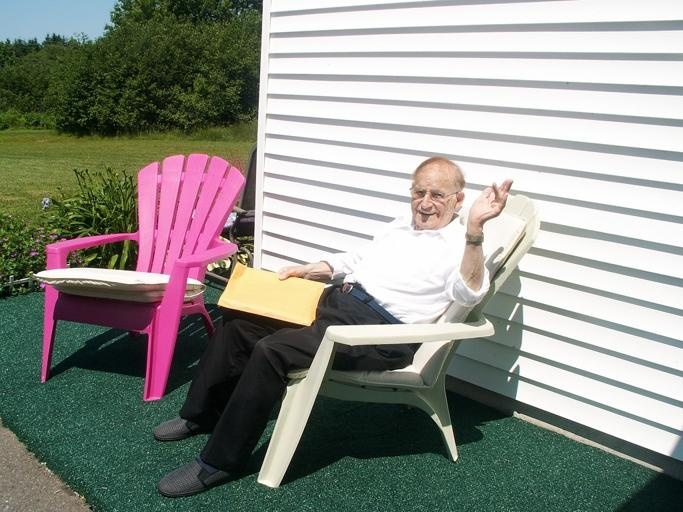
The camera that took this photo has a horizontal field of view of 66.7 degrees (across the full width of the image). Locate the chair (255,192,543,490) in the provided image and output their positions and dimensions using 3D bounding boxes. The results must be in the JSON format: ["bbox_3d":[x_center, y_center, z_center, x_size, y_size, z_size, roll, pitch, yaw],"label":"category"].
[{"bbox_3d":[0.229,0.282,2.764,1.396,1.227,1.004,1,20,-8],"label":"chair"}]

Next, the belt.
[{"bbox_3d":[0.172,0.259,2.720,0.394,0.105,0.283,40,-3,12],"label":"belt"}]

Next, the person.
[{"bbox_3d":[-0.012,0.292,2.708,1.873,1.356,1.120,-6,18,-33],"label":"person"}]

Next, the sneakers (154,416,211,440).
[{"bbox_3d":[-0.858,0.910,2.781,0.292,0.110,0.113,4,16,-22],"label":"sneakers"}]

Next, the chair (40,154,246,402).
[{"bbox_3d":[-1.260,0.045,3.428,1.070,1.226,1.269,5,19,13],"label":"chair"}]

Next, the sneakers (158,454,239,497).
[{"bbox_3d":[-0.653,1.009,2.448,0.383,0.147,0.141,-5,42,-19],"label":"sneakers"}]

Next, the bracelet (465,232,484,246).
[{"bbox_3d":[0.607,-0.083,2.410,0.080,0.074,0.079,11,12,19],"label":"bracelet"}]

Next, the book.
[{"bbox_3d":[-0.367,0.235,2.739,0.469,0.118,0.324,15,43,-3],"label":"book"}]
